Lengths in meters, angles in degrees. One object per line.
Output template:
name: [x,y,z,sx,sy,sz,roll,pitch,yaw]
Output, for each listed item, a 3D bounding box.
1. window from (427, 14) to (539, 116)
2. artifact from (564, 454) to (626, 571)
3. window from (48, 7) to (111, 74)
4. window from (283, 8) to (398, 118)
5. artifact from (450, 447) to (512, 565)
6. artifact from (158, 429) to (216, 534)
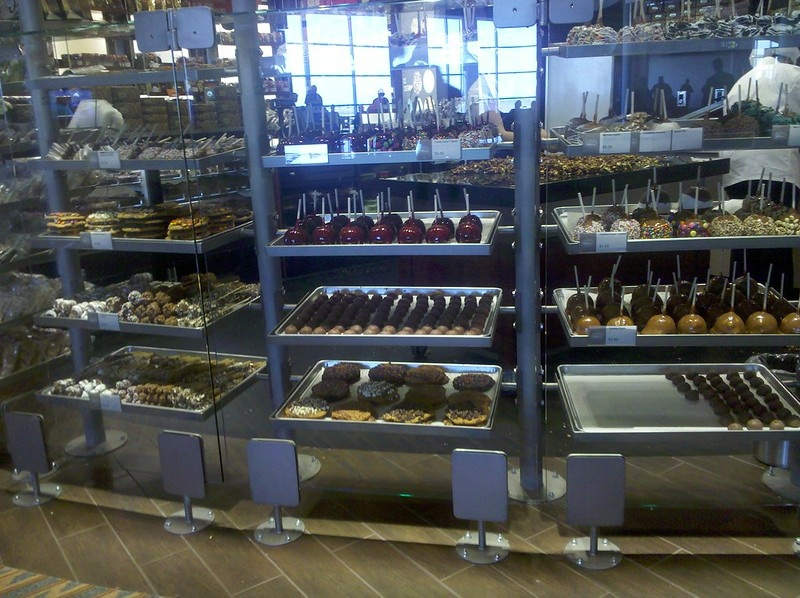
window: [0.333,-0.903,2.484,0.468,0.301,0.006,11,38,26]
artifact: [0.756,0.786,2.524,0.214,0.441,0.264,2,17,17]
window: [-1.321,-1.068,2.709,0.285,0.258,0.130,7,19,33]
window: [-0.225,-0.968,2.629,0.569,0.488,0.008,2,27,5]
artifact: [0.322,0.784,2.579,0.214,0.443,0.255,-1,16,8]
artifact: [-0.940,0.754,2.807,0.212,0.431,0.279,-6,16,-10]
